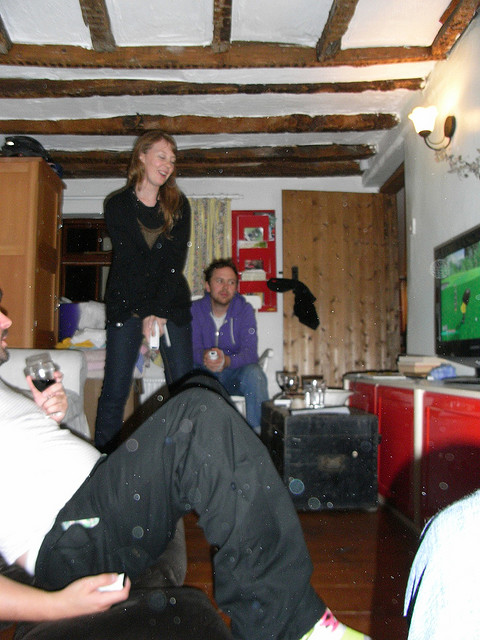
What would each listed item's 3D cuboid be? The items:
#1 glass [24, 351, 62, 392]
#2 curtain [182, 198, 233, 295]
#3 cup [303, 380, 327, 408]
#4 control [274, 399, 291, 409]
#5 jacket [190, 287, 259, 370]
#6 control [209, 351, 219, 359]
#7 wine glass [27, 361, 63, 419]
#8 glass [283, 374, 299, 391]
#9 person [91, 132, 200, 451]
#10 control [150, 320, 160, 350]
[{"bbox_3d":[-0.501,0.134,1.300,0.078,0.110,0.034,-18,-31,-25],"label":"glass"},{"bbox_3d":[-0.271,-0.787,4.452,0.458,0.678,0.051,-5,-25,-3],"label":"curtain"},{"bbox_3d":[0.338,0.356,2.466,0.111,0.132,0.114,-2,-34,-1],"label":"cup"},{"bbox_3d":[0.209,0.427,2.596,0.045,0.045,0.012,3,-18,12],"label":"control"},{"bbox_3d":[-0.130,0.096,3.210,0.439,0.409,0.633,-3,20,-16],"label":"jacket"},{"bbox_3d":[-0.148,0.195,2.853,0.038,0.038,0.039,-5,-3,32],"label":"control"},{"bbox_3d":[-0.474,0.177,1.231,0.075,0.137,0.031,-10,-11,-24],"label":"wine glass"},{"bbox_3d":[0.256,0.321,2.646,0.069,0.063,0.080,4,-11,-31],"label":"glass"},{"bbox_3d":[-0.404,-0.062,2.290,0.483,1.530,0.385,0,8,-21],"label":"person"},{"bbox_3d":[-0.349,0.060,2.142,0.035,0.120,0.054,16,11,41],"label":"control"}]
